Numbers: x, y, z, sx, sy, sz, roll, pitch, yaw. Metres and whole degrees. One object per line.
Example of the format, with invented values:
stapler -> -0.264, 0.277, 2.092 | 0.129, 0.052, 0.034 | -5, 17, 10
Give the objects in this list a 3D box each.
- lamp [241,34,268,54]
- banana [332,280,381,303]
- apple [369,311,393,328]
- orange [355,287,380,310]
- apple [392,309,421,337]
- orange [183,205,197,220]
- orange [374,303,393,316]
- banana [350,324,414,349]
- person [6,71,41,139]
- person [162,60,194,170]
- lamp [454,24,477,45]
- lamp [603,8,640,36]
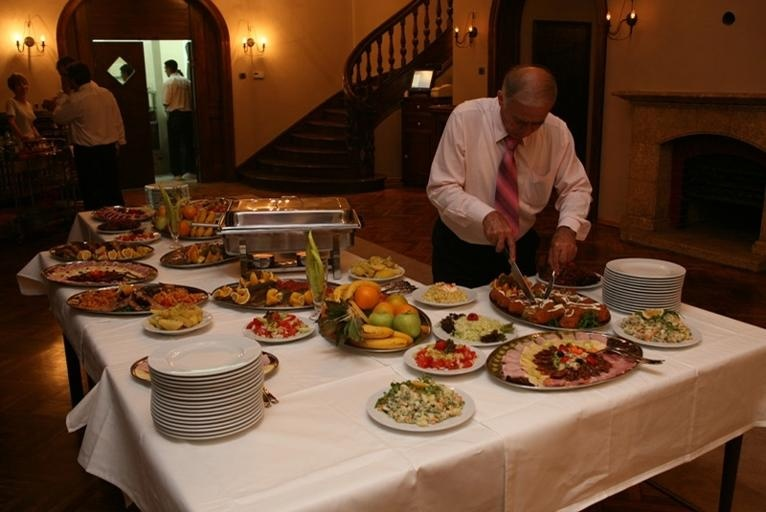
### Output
lamp -> -2.238, -3.677, 10.434 | 0.479, 0.437, 0.247 | -11, 25, -28
banana -> -0.105, 0.145, 2.341 | 0.109, 0.052, 0.115 | -6, 2, 26
apple -> -0.008, 0.242, 2.266 | 0.057, 0.059, 0.058 | -5, -8, -35
orange -> -0.064, 0.166, 2.364 | 0.084, 0.089, 0.088 | -7, 62, -8
apple -> 0.091, 0.259, 2.320 | 0.086, 0.088, 0.090 | -14, 0, -7
orange -> -1.186, -0.264, 3.708 | 0.081, 0.091, 0.085 | 5, -9, -10
orange -> 0.003, 0.193, 2.311 | 0.049, 0.054, 0.052 | 15, 20, 26
banana -> 0.006, 0.309, 2.219 | 0.195, 0.066, 0.097 | 5, 44, 2
person -> -4.585, -1.890, 7.584 | 0.310, 0.784, 0.951 | -10, 20, -29
person -> -3.591, -2.402, 10.591 | 0.490, 2.022, 0.449 | -7, 18, -20
lamp -> 1.177, -3.151, 8.548 | 0.111, 0.279, 0.518 | -9, 19, -25
lamp -> 2.635, -2.553, 6.624 | 0.263, 0.294, 0.427 | -26, 36, -28
